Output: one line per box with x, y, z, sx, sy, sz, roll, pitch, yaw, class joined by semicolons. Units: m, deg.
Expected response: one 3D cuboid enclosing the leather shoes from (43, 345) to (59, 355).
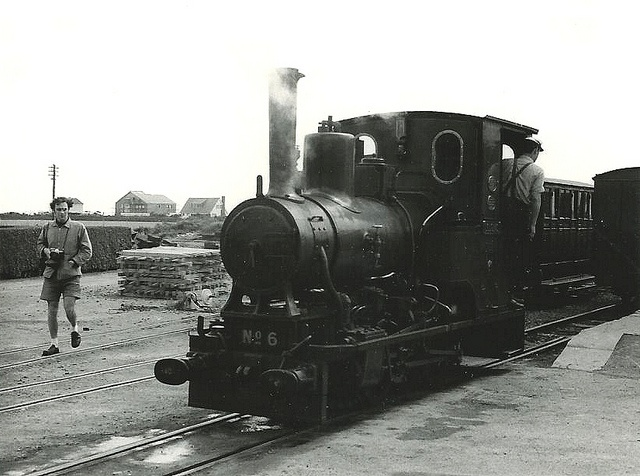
-4.222;1.756;9.375;0.092;0.131;0.288;1;-6;14;leather shoes

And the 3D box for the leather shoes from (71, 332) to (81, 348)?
-3.843;1.597;9.493;0.096;0.244;0.096;0;2;-13;leather shoes

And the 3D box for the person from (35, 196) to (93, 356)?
-4.047;0.602;9.560;0.751;2.491;0.814;0;2;-28;person

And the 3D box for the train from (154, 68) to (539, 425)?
0.986;0.036;8.893;2.285;3.693;7.051;2;1;33;train

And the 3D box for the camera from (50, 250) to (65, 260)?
-4.070;0.271;9.332;0.131;0.105;0.135;-2;1;-1;camera
